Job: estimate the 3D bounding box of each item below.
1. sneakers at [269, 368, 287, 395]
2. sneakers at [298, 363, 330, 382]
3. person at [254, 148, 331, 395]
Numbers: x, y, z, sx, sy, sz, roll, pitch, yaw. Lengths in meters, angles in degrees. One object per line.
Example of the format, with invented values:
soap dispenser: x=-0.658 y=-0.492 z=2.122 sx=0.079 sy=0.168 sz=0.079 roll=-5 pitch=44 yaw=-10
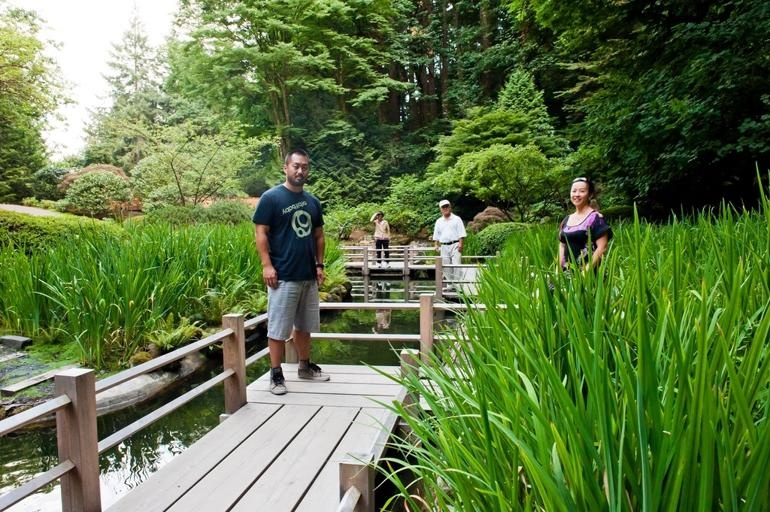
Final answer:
sneakers: x=-0.880 y=1.031 z=4.508 sx=0.095 sy=0.117 sz=0.269 roll=0 pitch=-2 yaw=-11
sneakers: x=-0.631 y=1.011 z=4.771 sx=0.321 sy=0.153 sz=0.112 roll=1 pitch=5 yaw=-3
person: x=-0.774 y=0.122 z=4.629 sx=0.633 sy=1.971 sz=0.388 roll=-5 pitch=6 yaw=-31
